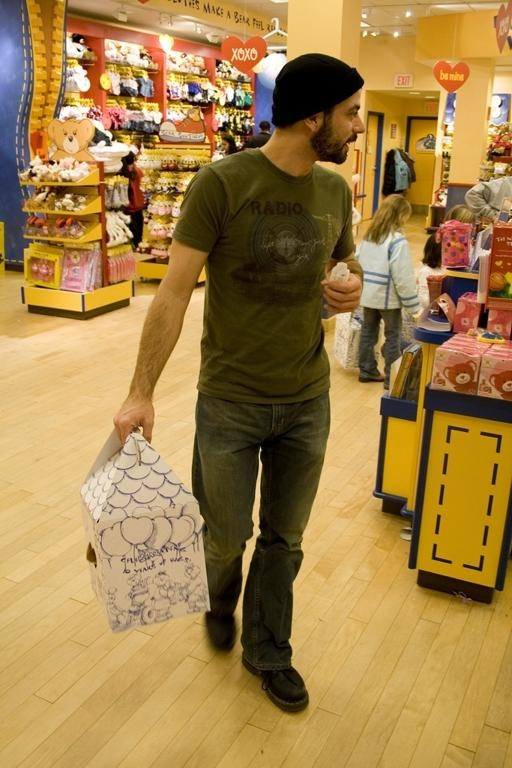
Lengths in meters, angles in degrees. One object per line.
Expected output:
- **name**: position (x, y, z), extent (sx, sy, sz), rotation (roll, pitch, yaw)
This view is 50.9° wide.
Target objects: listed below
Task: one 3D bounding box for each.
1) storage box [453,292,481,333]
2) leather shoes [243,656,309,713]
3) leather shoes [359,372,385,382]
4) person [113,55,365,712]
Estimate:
- **storage box**: position (0.812, -0.292, 2.118), extent (0.114, 0.156, 0.159), rotation (9, 21, 24)
- **leather shoes**: position (0.062, 0.817, 1.501), extent (0.084, 0.078, 0.181), rotation (-8, 16, -32)
- **leather shoes**: position (1.001, -0.051, 4.655), extent (0.221, 0.096, 0.082), rotation (-5, 18, -15)
- **person**: position (-0.012, 0.018, 1.275), extent (0.727, 1.422, 0.444), rotation (-3, 10, -25)
